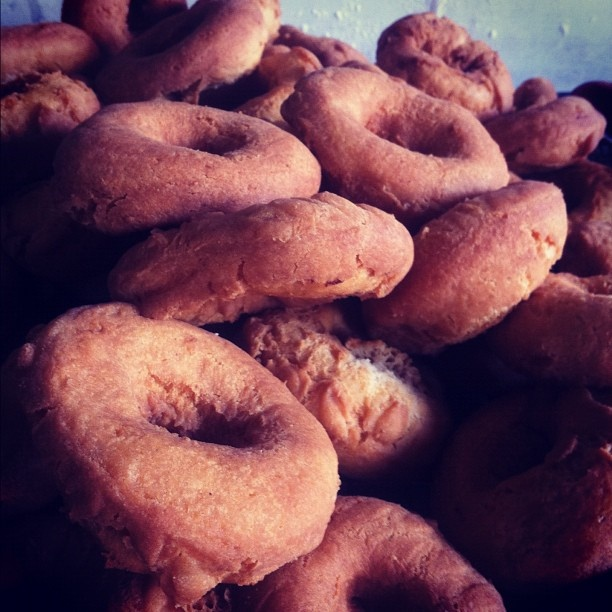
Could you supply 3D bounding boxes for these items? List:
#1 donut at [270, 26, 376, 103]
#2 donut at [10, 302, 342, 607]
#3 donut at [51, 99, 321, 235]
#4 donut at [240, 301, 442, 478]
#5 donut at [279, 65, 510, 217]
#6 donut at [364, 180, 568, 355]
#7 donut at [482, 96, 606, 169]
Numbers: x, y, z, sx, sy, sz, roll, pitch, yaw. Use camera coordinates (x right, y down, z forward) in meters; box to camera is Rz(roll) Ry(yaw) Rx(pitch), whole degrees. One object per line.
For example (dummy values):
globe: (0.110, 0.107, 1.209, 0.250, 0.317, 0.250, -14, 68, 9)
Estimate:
donut: (0.029, -0.570, 2.156, 0.274, 0.084, 0.160, 25, 15, 8)
donut: (-0.203, 0.210, 1.374, 0.394, 0.137, 0.532, -35, 67, -29)
donut: (-0.191, -0.307, 1.463, 0.302, 0.119, 0.297, -14, 35, -33)
donut: (0.072, 0.141, 1.536, 0.316, 0.113, 0.299, 29, 14, -25)
donut: (0.190, -0.376, 1.792, 0.481, 0.480, 0.188, -12, 85, -12)
donut: (0.288, -0.075, 1.562, 0.292, 0.289, 0.108, -40, 77, 4)
donut: (0.518, -0.366, 1.867, 0.170, 0.179, 0.079, -20, 92, -7)
